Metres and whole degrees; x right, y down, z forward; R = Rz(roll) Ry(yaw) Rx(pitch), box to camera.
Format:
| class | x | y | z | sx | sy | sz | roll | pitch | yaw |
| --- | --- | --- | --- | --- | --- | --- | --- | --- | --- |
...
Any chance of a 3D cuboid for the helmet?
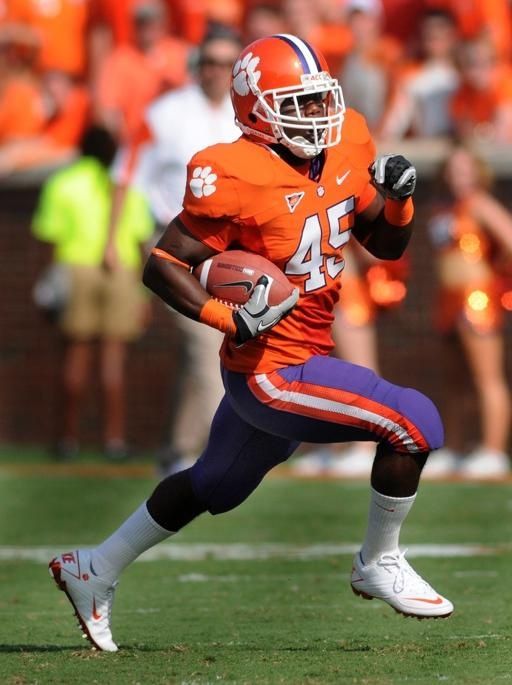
| class | x | y | z | sx | sy | sz | roll | pitch | yaw |
| --- | --- | --- | --- | --- | --- | --- | --- | --- | --- |
| helmet | 0.075 | -0.632 | 2.055 | 0.346 | 0.245 | 0.244 | 27 | 43 | 37 |

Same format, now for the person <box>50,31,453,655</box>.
| class | x | y | z | sx | sy | sz | roll | pitch | yaw |
| --- | --- | --- | --- | --- | --- | --- | --- | --- | --- |
| person | 0.021 | 0.066 | 2.069 | 0.928 | 1.628 | 0.851 | 7 | 25 | -12 |

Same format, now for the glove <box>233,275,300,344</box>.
| class | x | y | z | sx | sy | sz | roll | pitch | yaw |
| --- | --- | --- | --- | --- | --- | --- | --- | --- | --- |
| glove | 0.019 | -0.062 | 1.836 | 0.106 | 0.176 | 0.151 | 22 | 25 | 21 |

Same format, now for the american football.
| class | x | y | z | sx | sy | sz | roll | pitch | yaw |
| --- | --- | --- | --- | --- | --- | --- | --- | --- | --- |
| american football | -0.044 | -0.139 | 1.870 | 0.231 | 0.107 | 0.122 | 9 | 2 | 16 |

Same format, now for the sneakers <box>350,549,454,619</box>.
| class | x | y | z | sx | sy | sz | roll | pitch | yaw |
| --- | --- | --- | --- | --- | --- | --- | --- | --- | --- |
| sneakers | 0.355 | 0.597 | 1.987 | 0.112 | 0.117 | 0.295 | 7 | 0 | -43 |
